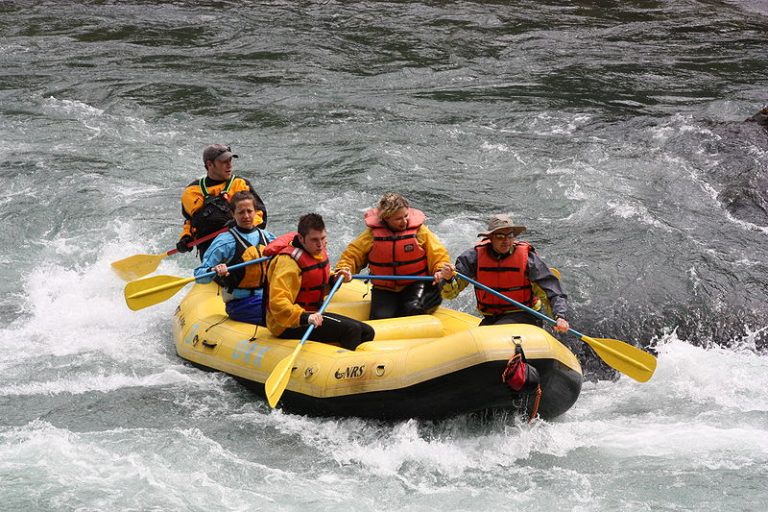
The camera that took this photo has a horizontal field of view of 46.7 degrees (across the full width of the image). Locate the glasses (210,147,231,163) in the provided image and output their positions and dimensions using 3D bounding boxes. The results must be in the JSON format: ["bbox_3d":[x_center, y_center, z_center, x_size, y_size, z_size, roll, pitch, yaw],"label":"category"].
[{"bbox_3d":[-2.264,-1.426,12.393,0.316,0.103,0.193,-12,-4,36],"label":"glasses"}]

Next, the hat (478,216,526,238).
[{"bbox_3d":[1.503,-0.378,11.317,0.562,0.133,0.469,-3,-6,1],"label":"hat"}]

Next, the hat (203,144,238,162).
[{"bbox_3d":[-2.441,-1.436,12.449,0.704,0.159,0.339,-3,3,7],"label":"hat"}]

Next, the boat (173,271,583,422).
[{"bbox_3d":[-0.284,1.224,11.769,5.340,1.331,2.164,8,15,27],"label":"boat"}]
